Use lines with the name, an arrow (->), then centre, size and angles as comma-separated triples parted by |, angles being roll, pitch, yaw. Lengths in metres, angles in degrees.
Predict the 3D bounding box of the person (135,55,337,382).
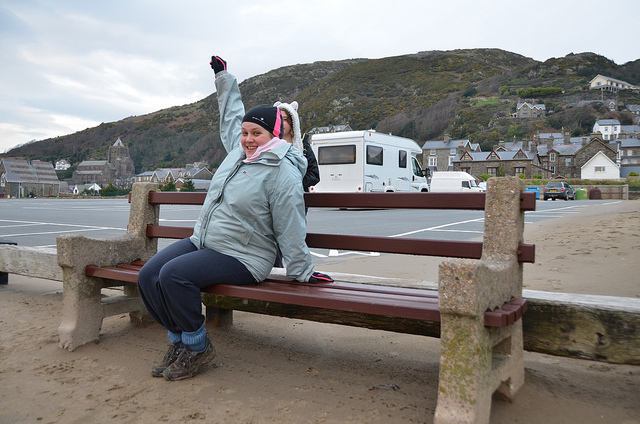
person -> -0.729, 0.219, 3.639 | 1.422, 2.175, 0.601 | -3, 10, -16

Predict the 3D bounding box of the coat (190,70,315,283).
coat -> -0.563, -0.324, 3.731 | 0.901, 1.800, 1.395 | -7, 12, -35

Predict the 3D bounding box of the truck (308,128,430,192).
truck -> 2.915, -2.465, 24.443 | 3.693, 3.103, 6.362 | 0, 2, 43
